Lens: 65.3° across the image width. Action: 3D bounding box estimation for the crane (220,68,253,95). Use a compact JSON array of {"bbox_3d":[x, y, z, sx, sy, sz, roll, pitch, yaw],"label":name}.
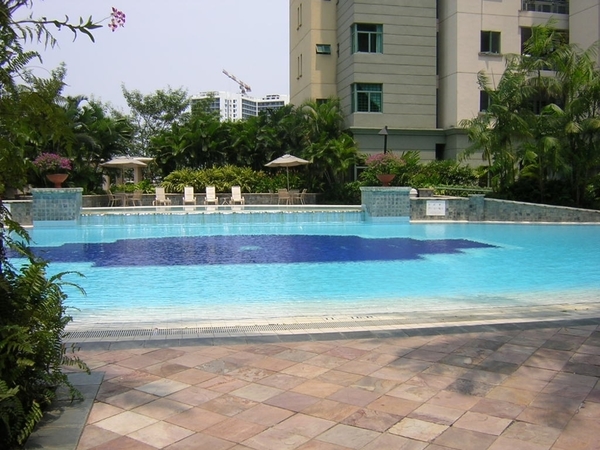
[{"bbox_3d":[-18.502,-41.947,139.036,7.714,6.616,7.206,0,7,-4],"label":"crane"}]
